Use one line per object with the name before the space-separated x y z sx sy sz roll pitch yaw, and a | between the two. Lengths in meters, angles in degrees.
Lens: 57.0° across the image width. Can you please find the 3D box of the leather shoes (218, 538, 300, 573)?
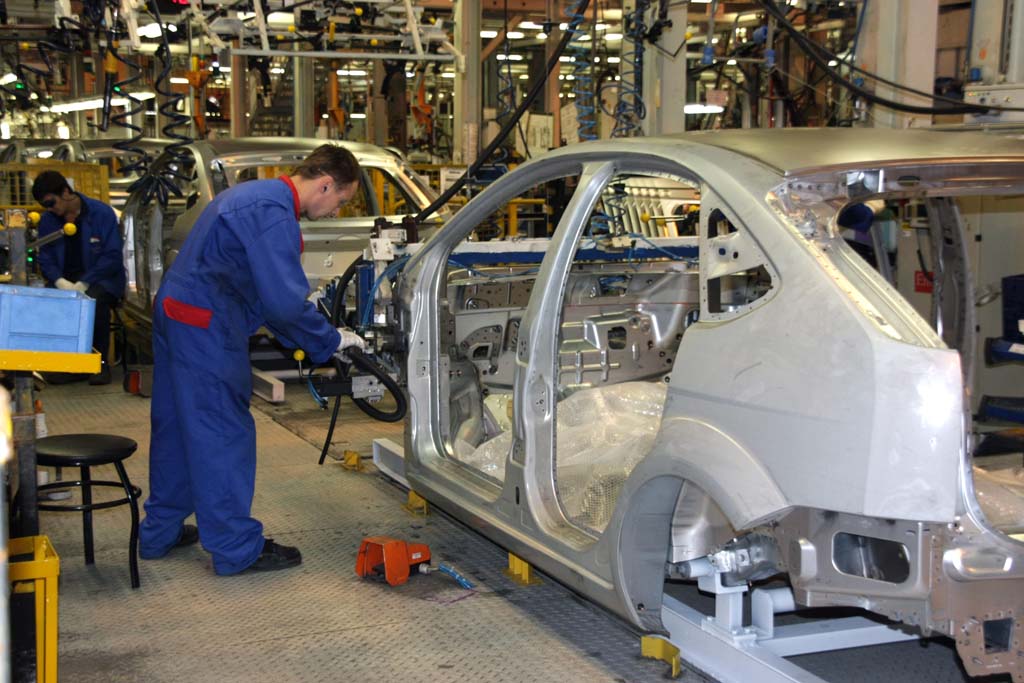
leather shoes | -1.244 1.037 4.628 0.403 0.180 0.149 -5 10 -24
